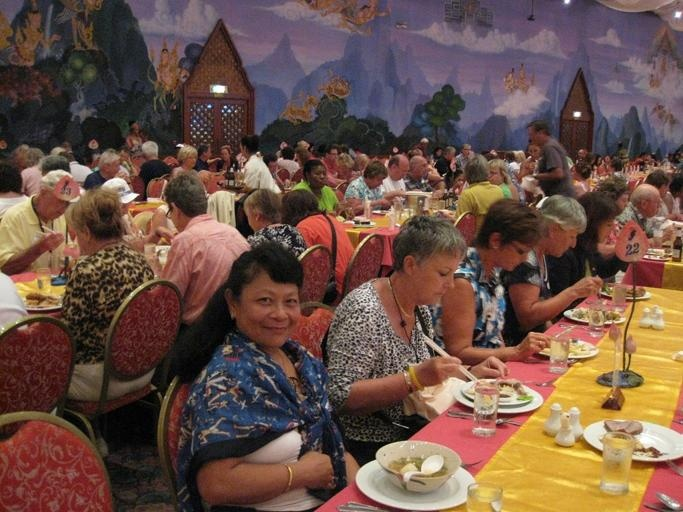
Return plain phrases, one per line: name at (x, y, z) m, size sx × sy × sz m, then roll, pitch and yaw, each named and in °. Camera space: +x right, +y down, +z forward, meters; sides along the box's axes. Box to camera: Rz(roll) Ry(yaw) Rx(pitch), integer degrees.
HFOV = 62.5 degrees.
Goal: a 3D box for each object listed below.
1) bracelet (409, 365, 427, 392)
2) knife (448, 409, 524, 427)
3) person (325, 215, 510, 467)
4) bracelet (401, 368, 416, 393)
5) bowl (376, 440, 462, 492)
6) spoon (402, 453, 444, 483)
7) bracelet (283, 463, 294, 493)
bracelet at (0.277, 0.450, 2.070) m, size 0.050 × 0.067 × 0.084 m, roll -27°, pitch -23°, yaw -5°
knife at (0.507, 0.562, 1.946) m, size 0.214 × 0.027 × 0.058 m, roll 5°, pitch 15°, yaw 26°
person at (0.201, 0.280, 2.314) m, size 0.644 × 1.172 × 0.594 m, roll -11°, pitch 19°, yaw -42°
bracelet at (0.254, 0.455, 2.087) m, size 0.028 × 0.076 × 0.055 m, roll -24°, pitch 53°, yaw -6°
bowl at (0.243, 0.554, 1.630) m, size 0.184 × 0.110 × 0.229 m, roll -4°, pitch 11°, yaw -38°
spoon at (0.239, 0.588, 1.591) m, size 0.043 × 0.038 × 0.213 m, roll 15°, pitch -2°, yaw 26°
bracelet at (-0.160, 0.662, 1.689) m, size 0.038 × 0.073 × 0.035 m, roll -3°, pitch 13°, yaw -37°
